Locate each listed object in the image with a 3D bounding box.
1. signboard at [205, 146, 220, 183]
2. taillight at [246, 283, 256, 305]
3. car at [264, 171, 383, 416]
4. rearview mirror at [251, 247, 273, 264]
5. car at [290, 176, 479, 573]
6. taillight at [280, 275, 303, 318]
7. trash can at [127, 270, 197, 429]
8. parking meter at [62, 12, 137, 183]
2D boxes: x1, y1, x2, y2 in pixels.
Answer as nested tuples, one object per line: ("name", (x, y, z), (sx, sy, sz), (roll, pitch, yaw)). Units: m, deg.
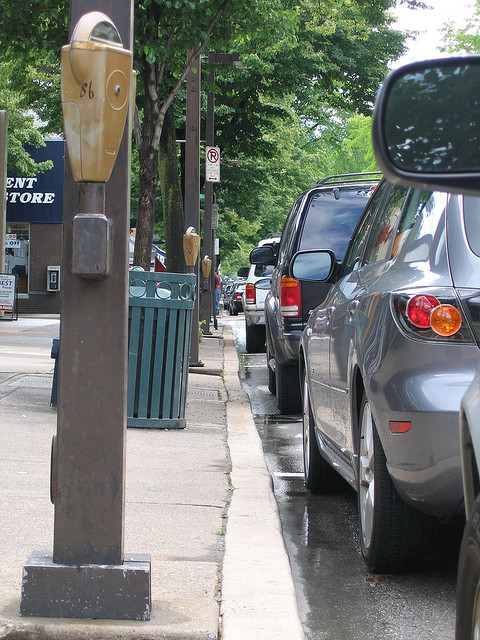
("signboard", (-0.666, -3.766, 18.940), (0.307, 0.808, 0.378), (-1, 10, -10))
("taillight", (0.244, -0.571, 16.876), (0.203, 0.324, 0.624), (1, 14, 0))
("car", (0.825, -0.505, 8.046), (0.900, 1.869, 2.544), (0, 3, -1))
("rearview mirror", (0.298, -0.878, 10.417), (0.287, 0.236, 0.277), (2, 12, 0))
("car", (0.607, 0.142, 3.561), (0.565, 0.987, 1.642), (2, 8, -4))
("taillight", (0.515, -0.265, 8.044), (0.237, 0.730, 0.299), (0, 3, -7))
("trash can", (-0.640, 0.232, 6.724), (0.509, 1.444, 0.828), (1, 1, 4))
("parking meter", (-0.439, -0.688, 2.440), (0.220, 0.511, 0.142), (-2, 10, -18))
